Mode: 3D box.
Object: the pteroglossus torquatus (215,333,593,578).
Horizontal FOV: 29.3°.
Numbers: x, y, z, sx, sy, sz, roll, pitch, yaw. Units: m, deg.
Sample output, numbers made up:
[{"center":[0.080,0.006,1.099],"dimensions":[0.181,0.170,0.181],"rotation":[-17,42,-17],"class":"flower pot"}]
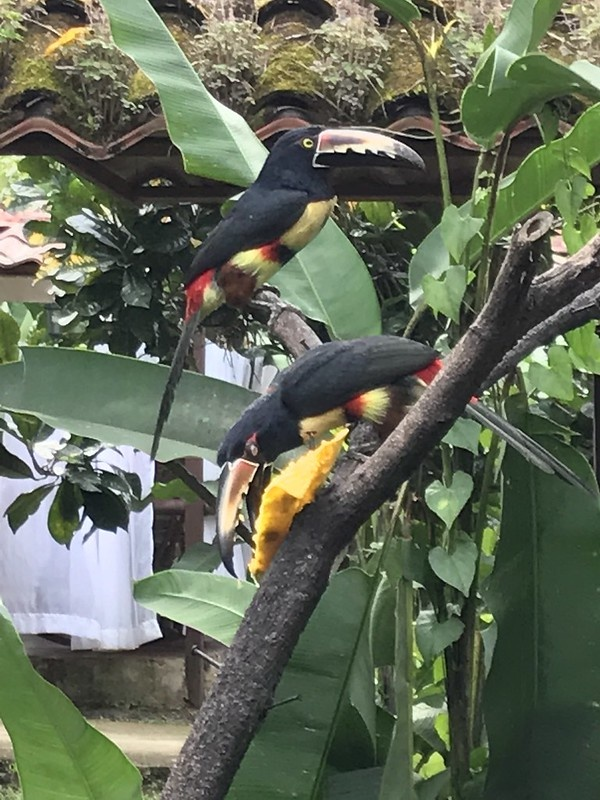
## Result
[{"center":[0.099,0.009,1.354],"dimensions":[0.491,0.199,0.179],"rotation":[-21,3,-27],"class":"pteroglossus torquatus"}]
